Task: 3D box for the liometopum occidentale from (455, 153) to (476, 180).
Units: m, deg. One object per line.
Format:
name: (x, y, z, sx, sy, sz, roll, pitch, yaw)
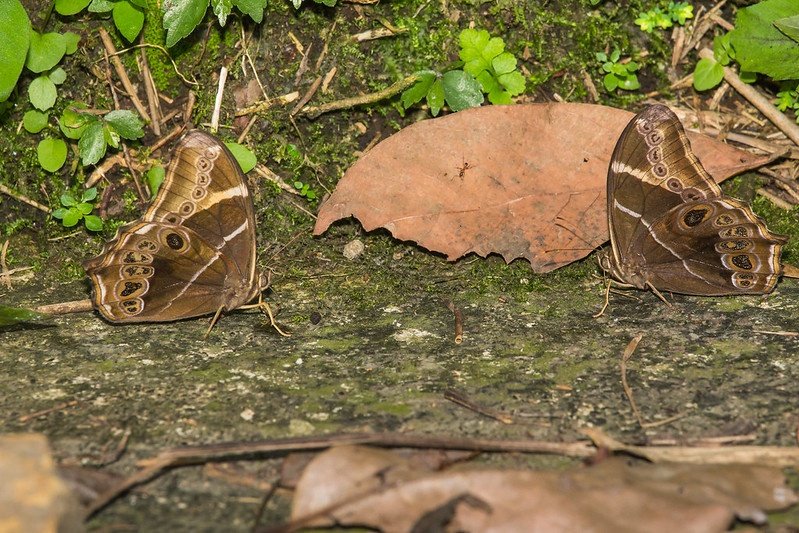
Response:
liometopum occidentale: (0.451, -0.685, 5.209, 0.122, 0.140, 0.054, 9, 30, -4)
